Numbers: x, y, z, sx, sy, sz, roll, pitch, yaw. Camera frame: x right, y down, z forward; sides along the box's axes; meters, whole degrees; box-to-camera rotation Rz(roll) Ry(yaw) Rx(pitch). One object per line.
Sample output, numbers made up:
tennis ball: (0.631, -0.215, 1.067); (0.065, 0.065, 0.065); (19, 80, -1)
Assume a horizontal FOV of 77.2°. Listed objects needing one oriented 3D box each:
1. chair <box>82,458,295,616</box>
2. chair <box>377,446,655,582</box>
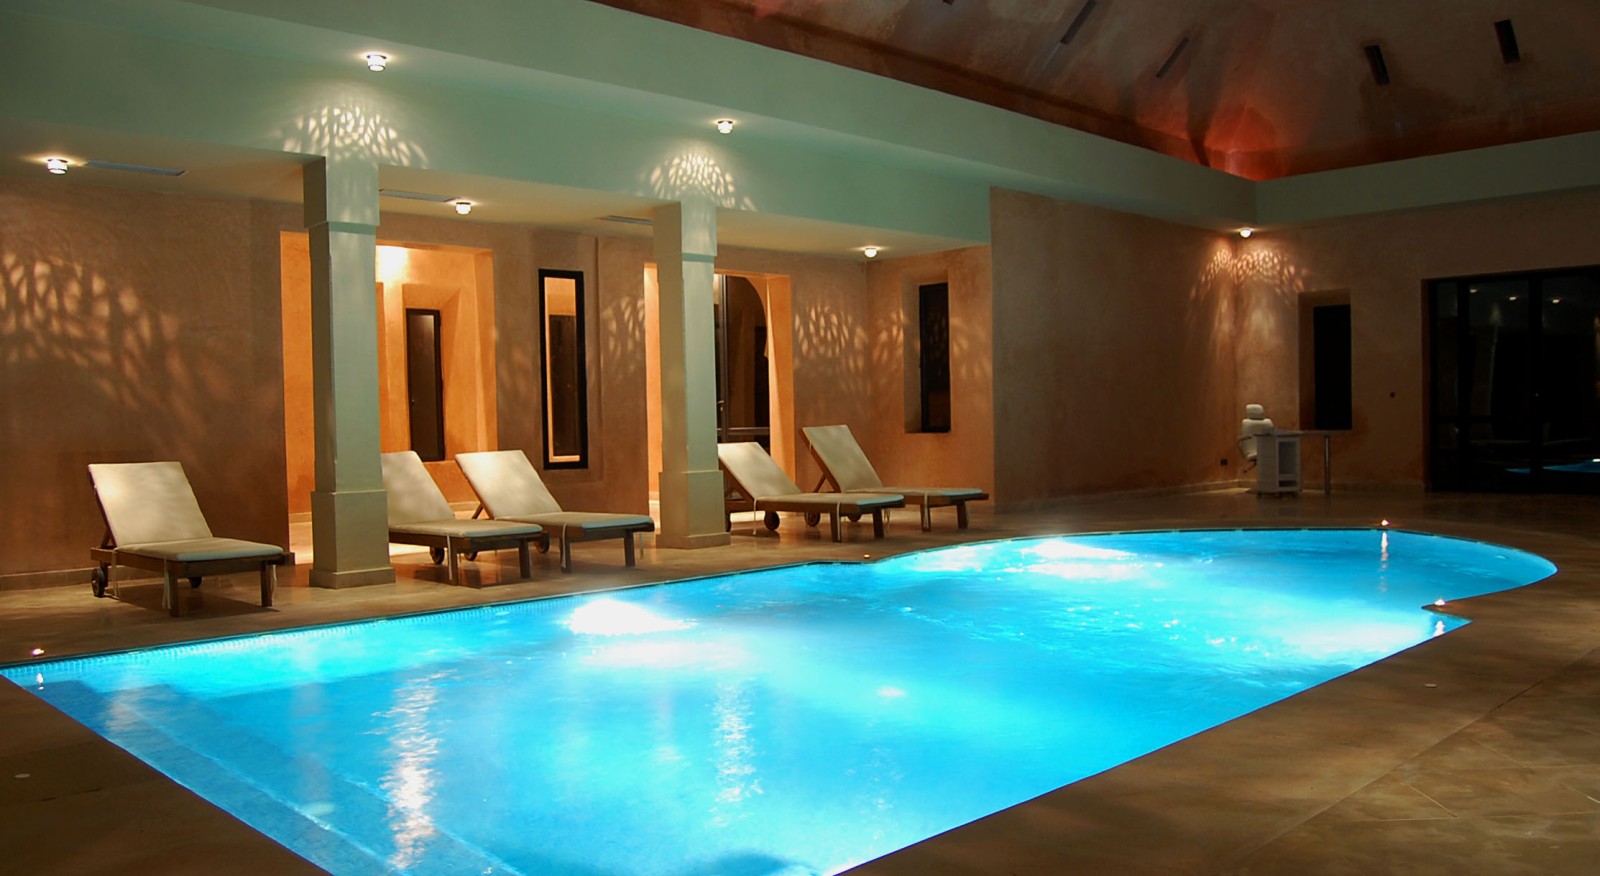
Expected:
chair: (-5.665, 0.834, 9.197); (1.791, 0.988, 0.962); (7, 7, 35)
chair: (-3.130, 0.713, 10.183); (1.802, 0.765, 1.772); (0, 1, 42)
